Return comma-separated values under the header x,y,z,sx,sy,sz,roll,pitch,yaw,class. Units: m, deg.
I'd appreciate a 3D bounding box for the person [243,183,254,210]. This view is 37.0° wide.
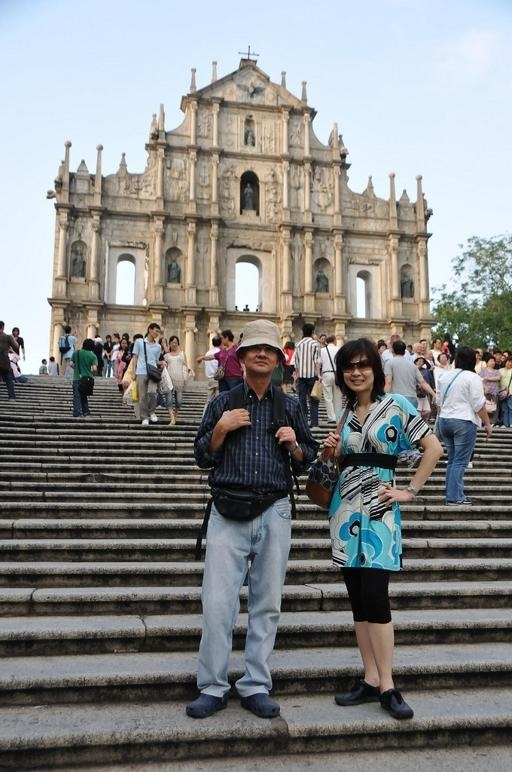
x,y,z,sx,sy,sz,roll,pitch,yaw,class
-0.214,-7.404,30.090,0.440,1.171,0.519,0,-2,3,person

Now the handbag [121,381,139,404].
x,y,z,sx,sy,sz,roll,pitch,yaw,class
-1.751,0.103,10.813,0.134,0.289,0.253,9,-36,-3,handbag

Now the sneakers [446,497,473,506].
x,y,z,sx,sy,sz,roll,pitch,yaw,class
1.834,1.048,6.804,0.248,0.121,0.089,-1,0,2,sneakers

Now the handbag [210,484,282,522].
x,y,z,sx,sy,sz,roll,pitch,yaw,class
-0.024,0.507,3.244,0.323,0.136,0.162,0,-2,-2,handbag

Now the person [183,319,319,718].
x,y,z,sx,sy,sz,roll,pitch,yaw,class
-0.007,0.640,3.256,0.541,1.420,0.363,0,-2,-1,person

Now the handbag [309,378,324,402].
x,y,z,sx,sy,sz,roll,pitch,yaw,class
0.865,0.046,10.702,0.102,0.316,0.264,3,9,-13,handbag

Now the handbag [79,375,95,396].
x,y,z,sx,sy,sz,roll,pitch,yaw,class
-2.331,0.017,10.554,0.179,0.277,0.335,0,-2,-3,handbag

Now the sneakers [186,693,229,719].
x,y,z,sx,sy,sz,roll,pitch,yaw,class
-0.198,1.309,3.134,0.066,0.075,0.165,-7,-14,37,sneakers

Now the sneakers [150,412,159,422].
x,y,z,sx,sy,sz,roll,pitch,yaw,class
-1.385,0.444,10.524,0.109,0.146,0.340,-1,-3,-7,sneakers

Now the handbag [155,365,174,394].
x,y,z,sx,sy,sz,roll,pitch,yaw,class
-1.251,-0.069,10.547,0.165,0.487,0.358,-6,0,21,handbag

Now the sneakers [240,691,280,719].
x,y,z,sx,sy,sz,roll,pitch,yaw,class
0.037,1.300,3.109,0.063,0.076,0.168,3,-18,-25,sneakers

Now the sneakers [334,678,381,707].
x,y,z,sx,sy,sz,roll,pitch,yaw,class
0.451,1.346,3.354,0.218,0.111,0.081,2,-11,-18,sneakers

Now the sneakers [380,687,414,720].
x,y,z,sx,sy,sz,roll,pitch,yaw,class
0.584,1.300,3.114,0.058,0.070,0.172,2,-19,-10,sneakers

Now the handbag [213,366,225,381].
x,y,z,sx,sy,sz,roll,pitch,yaw,class
-0.474,-0.150,9.966,0.116,0.186,0.168,3,-10,14,handbag

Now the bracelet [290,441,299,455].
x,y,z,sx,sy,sz,roll,pitch,yaw,class
0.174,0.271,3.303,0.032,0.046,0.045,-1,-1,3,bracelet

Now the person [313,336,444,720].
x,y,z,sx,sy,sz,roll,pitch,yaw,class
0.504,0.596,3.294,0.543,1.617,0.315,-2,-2,39,person

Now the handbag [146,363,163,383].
x,y,z,sx,sy,sz,roll,pitch,yaw,class
-1.354,-0.159,10.262,0.068,0.206,0.219,-6,-12,31,handbag

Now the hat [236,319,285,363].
x,y,z,sx,sy,sz,roll,pitch,yaw,class
0.025,-0.195,3.378,0.127,0.118,0.199,2,-13,-4,hat
